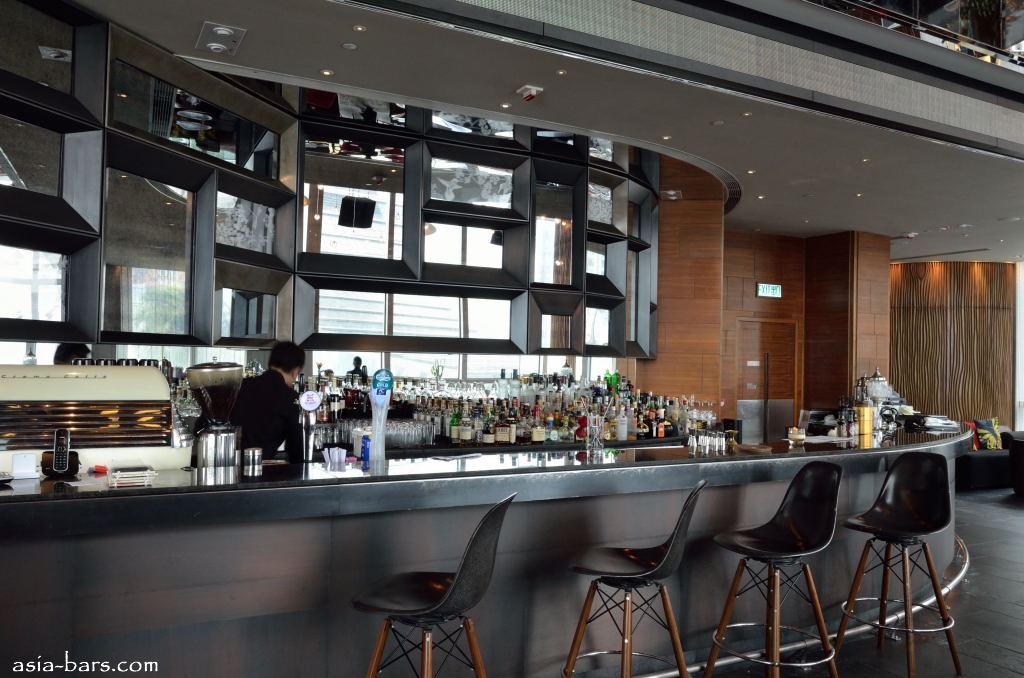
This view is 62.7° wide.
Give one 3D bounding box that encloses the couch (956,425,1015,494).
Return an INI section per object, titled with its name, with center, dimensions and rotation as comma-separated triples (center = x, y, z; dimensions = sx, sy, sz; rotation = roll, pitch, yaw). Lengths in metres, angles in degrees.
[couch]
center = 6.320, 1.669, 11.322
dimensions = 1.186, 0.523, 0.614
rotation = 1, -2, -35

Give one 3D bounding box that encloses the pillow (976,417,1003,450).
[pillow]
center = 7.034, 1.426, 12.416
dimensions = 0.432, 0.454, 0.137
rotation = 11, -36, -27

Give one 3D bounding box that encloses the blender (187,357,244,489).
[blender]
center = -1.909, 0.558, 5.467
dimensions = 0.394, 0.768, 0.385
rotation = 1, -6, -10
